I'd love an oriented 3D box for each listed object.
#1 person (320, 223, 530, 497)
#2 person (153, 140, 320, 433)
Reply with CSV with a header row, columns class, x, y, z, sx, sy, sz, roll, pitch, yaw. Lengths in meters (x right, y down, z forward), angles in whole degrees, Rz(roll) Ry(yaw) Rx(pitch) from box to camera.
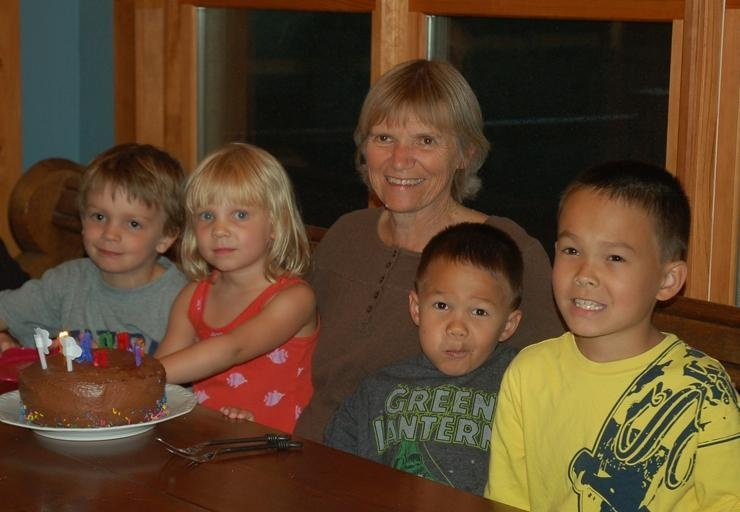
class,x,y,z,sx,sy,sz,roll,pitch,yaw
person,0.271,0.315,2.201,0.742,0.689,0.345,8,-2,24
person,-0.473,0.152,2.423,0.580,0.975,0.527,1,5,-3
